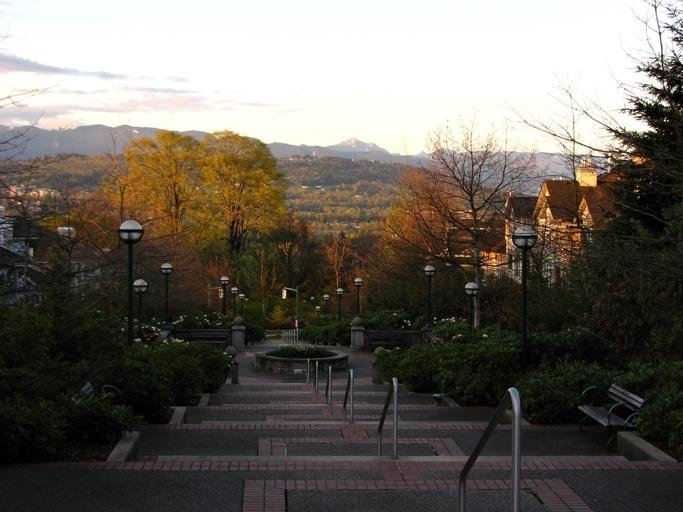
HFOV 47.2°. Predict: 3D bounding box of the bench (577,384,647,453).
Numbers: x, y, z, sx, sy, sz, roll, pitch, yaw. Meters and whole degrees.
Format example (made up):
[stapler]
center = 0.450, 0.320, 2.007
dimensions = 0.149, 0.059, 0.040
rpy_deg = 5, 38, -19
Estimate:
[bench]
center = 4.819, 2.832, 13.968
dimensions = 0.795, 0.818, 1.767
rpy_deg = -6, -1, 2
